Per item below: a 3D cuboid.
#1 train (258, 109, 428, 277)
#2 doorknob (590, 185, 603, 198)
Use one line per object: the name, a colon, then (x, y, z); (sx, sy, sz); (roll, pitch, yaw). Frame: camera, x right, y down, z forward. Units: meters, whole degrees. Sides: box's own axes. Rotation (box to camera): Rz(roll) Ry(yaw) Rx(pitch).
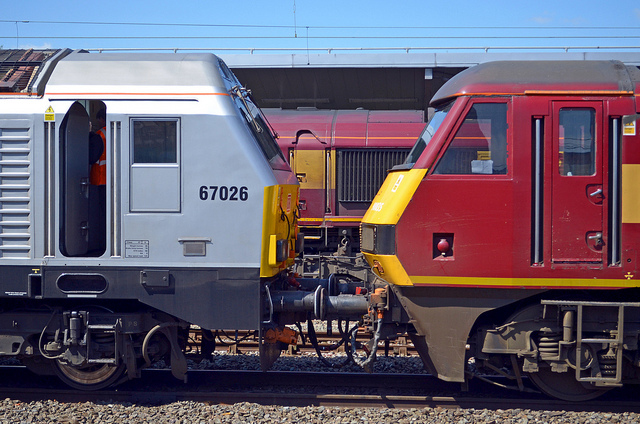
train: (0.821, -0.233, 20.689); (3.992, 3.746, 1.568); (2, 4, 44)
doorknob: (3.869, -0.307, 14.297); (0.152, 0.174, 0.045); (0, -5, -8)
